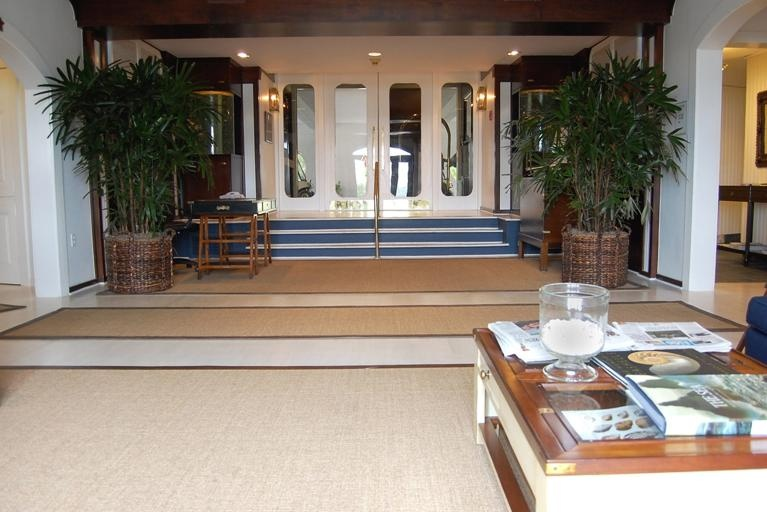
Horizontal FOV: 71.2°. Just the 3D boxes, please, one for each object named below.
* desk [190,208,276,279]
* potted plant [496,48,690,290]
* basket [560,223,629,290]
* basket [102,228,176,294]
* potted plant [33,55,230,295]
[{"bbox_3d":[-1.784,-0.230,6.549,0.748,0.821,1.268,0,5,-2],"label":"desk"},{"bbox_3d":[2.280,-0.924,5.720,1.633,2.384,1.292,0,9,14],"label":"potted plant"},{"bbox_3d":[2.273,-0.008,5.651,0.665,0.547,0.619,0,6,9],"label":"basket"},{"bbox_3d":[-2.575,0.038,5.614,0.686,0.580,0.655,-7,9,-37],"label":"basket"},{"bbox_3d":[-2.508,-0.719,5.595,1.521,1.880,1.445,3,14,-10],"label":"potted plant"}]
